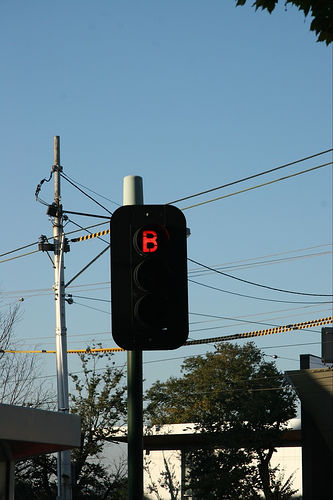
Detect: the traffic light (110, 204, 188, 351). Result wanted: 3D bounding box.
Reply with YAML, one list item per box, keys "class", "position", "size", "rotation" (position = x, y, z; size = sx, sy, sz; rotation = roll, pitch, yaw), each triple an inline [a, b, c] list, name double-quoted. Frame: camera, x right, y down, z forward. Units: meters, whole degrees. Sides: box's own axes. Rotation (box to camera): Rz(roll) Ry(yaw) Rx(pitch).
- class: "traffic light"
  position: [-0.272, 0.439, 19.749]
  size: [1.278, 2.470, 0.310]
  rotation: [-2, -8, 3]
